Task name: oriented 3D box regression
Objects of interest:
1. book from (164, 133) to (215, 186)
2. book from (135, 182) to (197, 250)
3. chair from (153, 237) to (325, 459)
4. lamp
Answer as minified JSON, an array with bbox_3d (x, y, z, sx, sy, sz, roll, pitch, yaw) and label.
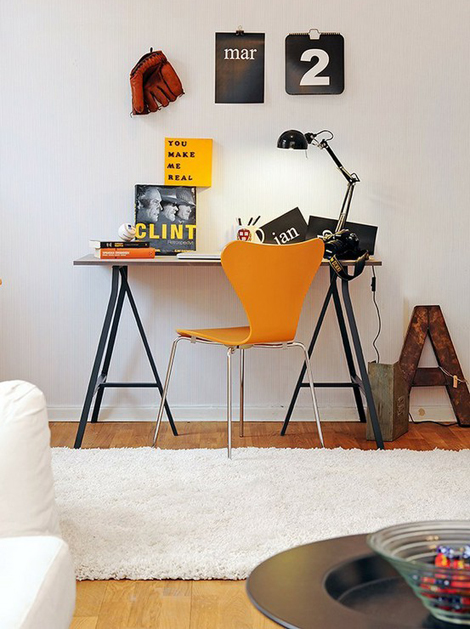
[{"bbox_3d":[-0.233,-0.768,2.622,0.224,0.250,0.024,0,7,2],"label":"book"},{"bbox_3d":[-0.348,-0.493,2.627,0.324,0.399,0.018,0,6,2],"label":"book"},{"bbox_3d":[0.033,0.113,2.331,0.548,0.937,0.586,-5,13,-27],"label":"chair"},{"bbox_3d":[0.415,-0.652,2.565,0.342,0.534,0.371,1,3,18],"label":"lamp"}]
